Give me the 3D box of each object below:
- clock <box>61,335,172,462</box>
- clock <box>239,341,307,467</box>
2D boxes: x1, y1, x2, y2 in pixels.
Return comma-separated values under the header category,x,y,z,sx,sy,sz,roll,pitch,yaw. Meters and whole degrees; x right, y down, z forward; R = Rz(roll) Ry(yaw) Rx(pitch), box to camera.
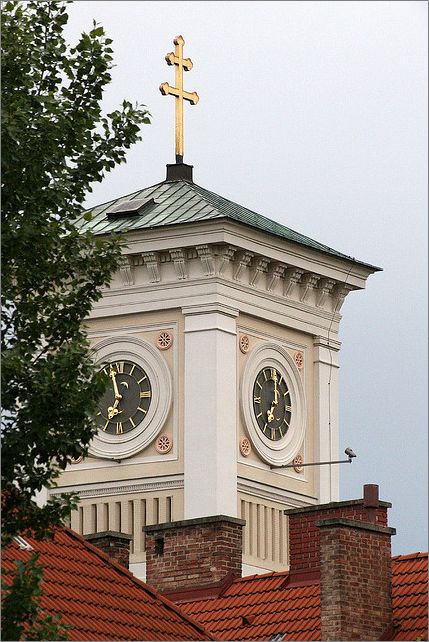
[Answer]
category,x,y,z,sx,sy,sz,roll,pitch,yaw
clock,-1.884,1.572,43.920,1.934,2.674,0.741,4,2,37
clock,1.112,1.773,44.662,0.263,2.652,2.331,-4,-5,29
